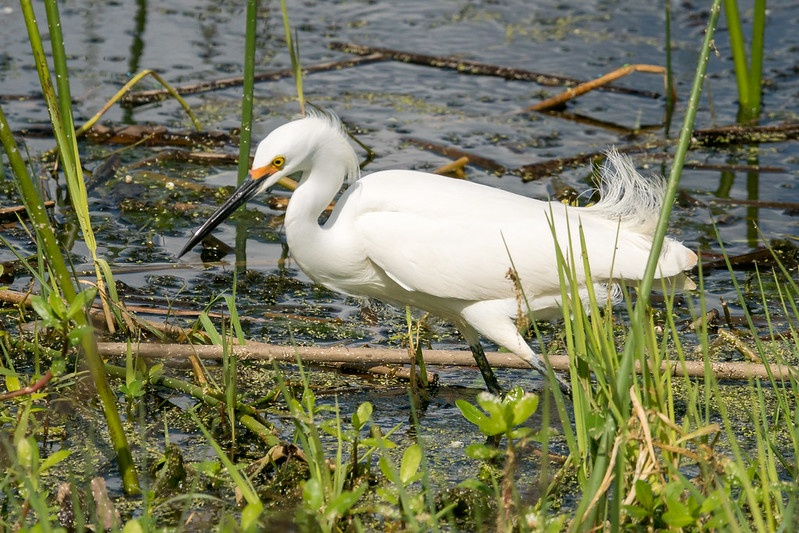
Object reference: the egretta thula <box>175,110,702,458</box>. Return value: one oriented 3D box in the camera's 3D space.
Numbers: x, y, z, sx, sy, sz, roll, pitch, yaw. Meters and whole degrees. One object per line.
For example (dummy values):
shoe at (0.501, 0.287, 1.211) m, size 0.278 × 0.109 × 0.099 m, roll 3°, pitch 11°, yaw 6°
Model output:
egretta thula at (0.355, -0.001, 4.288) m, size 2.397 × 1.223 × 0.656 m, roll -4°, pitch 9°, yaw -16°
